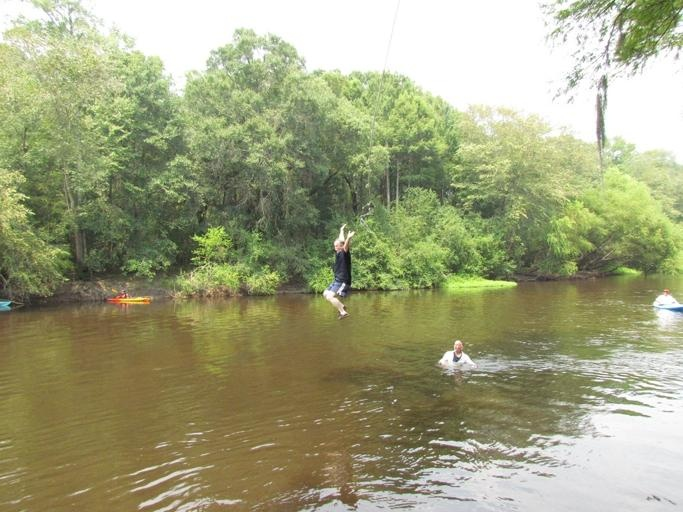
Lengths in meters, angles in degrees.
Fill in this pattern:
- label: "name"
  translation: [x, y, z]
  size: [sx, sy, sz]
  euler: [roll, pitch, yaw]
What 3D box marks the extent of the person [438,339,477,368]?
- label: "person"
  translation: [3.543, 3.250, 18.894]
  size: [1.349, 0.977, 0.751]
  euler: [1, -3, 6]
